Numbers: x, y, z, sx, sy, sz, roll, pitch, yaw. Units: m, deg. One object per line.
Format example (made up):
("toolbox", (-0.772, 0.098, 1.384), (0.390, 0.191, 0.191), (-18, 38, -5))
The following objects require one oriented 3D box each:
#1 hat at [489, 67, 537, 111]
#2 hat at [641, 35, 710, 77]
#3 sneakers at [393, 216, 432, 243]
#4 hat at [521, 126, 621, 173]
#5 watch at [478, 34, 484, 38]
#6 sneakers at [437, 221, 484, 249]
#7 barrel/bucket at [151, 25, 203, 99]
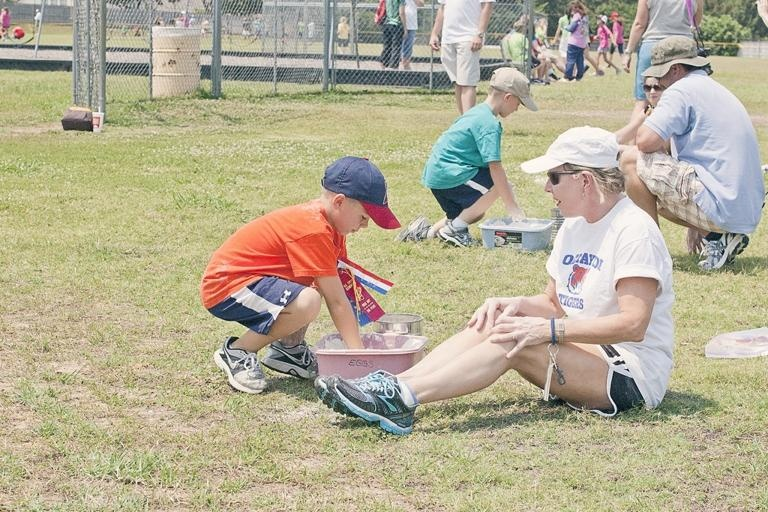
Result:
("hat", (1.240, -1.603, 11.711), (0.330, 0.382, 0.575), (9, 11, 30))
("hat", (2.545, -1.777, 10.828), (0.432, 0.197, 0.436), (-4, 12, 38))
("sneakers", (0.284, -0.211, 11.689), (0.178, 0.389, 0.143), (46, 4, -1))
("hat", (1.268, -0.723, 8.339), (0.515, 0.198, 0.315), (1, 4, 7))
("watch", (1.194, -2.752, 15.184), (0.062, 0.057, 0.038), (0, 9, -10))
("sneakers", (0.698, -0.186, 11.647), (0.448, 0.206, 0.173), (25, 16, -10))
("barrel/bucket", (-3.550, -3.329, 20.942), (0.848, 1.174, 0.550), (1, 10, -18))
